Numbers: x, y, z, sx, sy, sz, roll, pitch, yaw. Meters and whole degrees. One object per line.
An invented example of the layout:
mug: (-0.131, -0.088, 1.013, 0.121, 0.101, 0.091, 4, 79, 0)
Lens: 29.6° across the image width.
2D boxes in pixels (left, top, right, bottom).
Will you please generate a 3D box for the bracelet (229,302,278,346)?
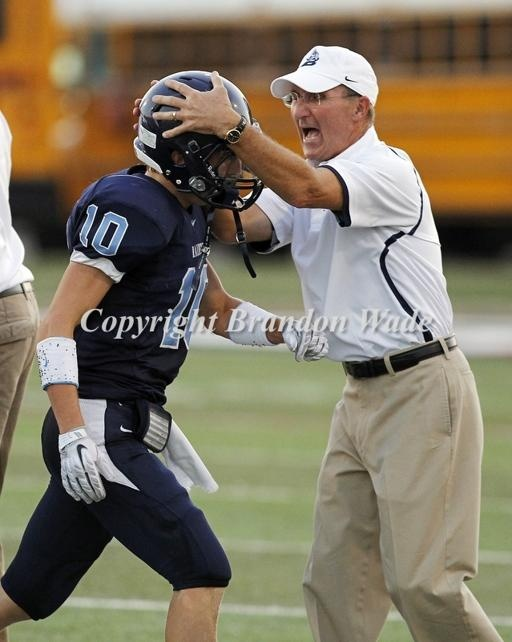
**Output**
bracelet: (-0.023, 0.018, 3.553, 0.209, 0.122, 0.157, 13, -1, 17)

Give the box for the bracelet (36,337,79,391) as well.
bracelet: (-0.566, 0.118, 2.751, 0.116, 0.154, 0.146, 0, 6, -10)

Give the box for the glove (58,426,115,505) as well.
glove: (-0.475, 0.397, 2.715, 0.113, 0.195, 0.181, -10, -12, -39)

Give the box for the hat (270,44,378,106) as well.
hat: (0.261, -0.853, 3.435, 0.379, 0.152, 0.222, 12, 1, -21)

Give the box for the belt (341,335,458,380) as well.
belt: (0.508, 0.123, 3.222, 0.237, 0.042, 0.204, -15, 3, -18)

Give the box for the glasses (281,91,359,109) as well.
glasses: (0.211, -0.765, 3.408, 0.203, 0.042, 0.099, 6, -4, -20)
